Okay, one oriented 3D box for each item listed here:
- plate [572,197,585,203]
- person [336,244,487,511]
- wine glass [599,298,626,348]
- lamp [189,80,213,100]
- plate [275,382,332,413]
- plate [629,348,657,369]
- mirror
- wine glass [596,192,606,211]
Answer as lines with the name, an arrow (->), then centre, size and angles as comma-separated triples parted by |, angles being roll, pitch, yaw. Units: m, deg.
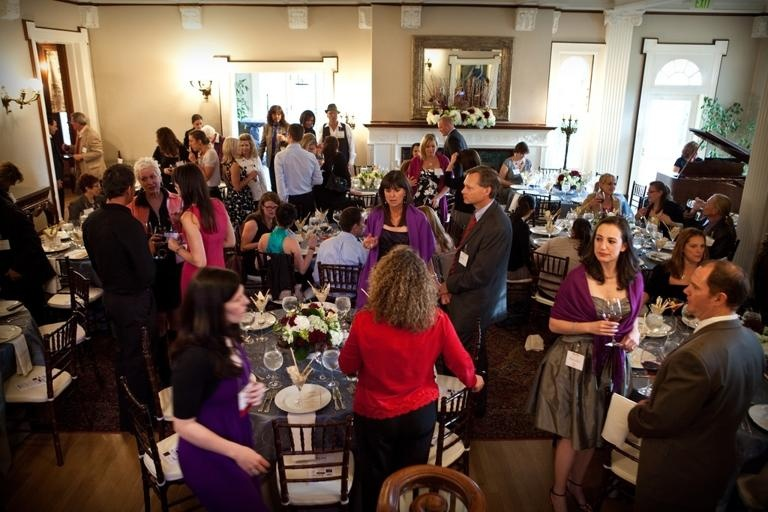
plate -> 3.266, -0.953, 8.694 | 0.131, 0.037, 0.142 | -9, 14, -26
person -> 0.126, 0.867, 3.405 | 0.833, 1.826, 0.342 | -3, 16, -7
wine glass -> 1.659, 0.480, 3.742 | 0.192, 0.371, 0.163 | 1, 16, 6
lamp -> -4.029, -3.671, 11.412 | 0.403, 0.398, 0.405 | 1, 8, 8
plate -> -0.596, 1.049, 3.782 | 0.404, 0.086, 0.269 | -4, 17, -10
plate -> 2.082, 0.824, 4.147 | 0.196, 0.029, 0.203 | -5, 28, 24
mirror -> 1.541, -3.772, 10.650 | 2.355, 1.893, 0.109 | 0, 12, -4
wine glass -> 3.051, -0.763, 7.230 | 0.064, 0.293, 0.083 | 5, -11, -8
